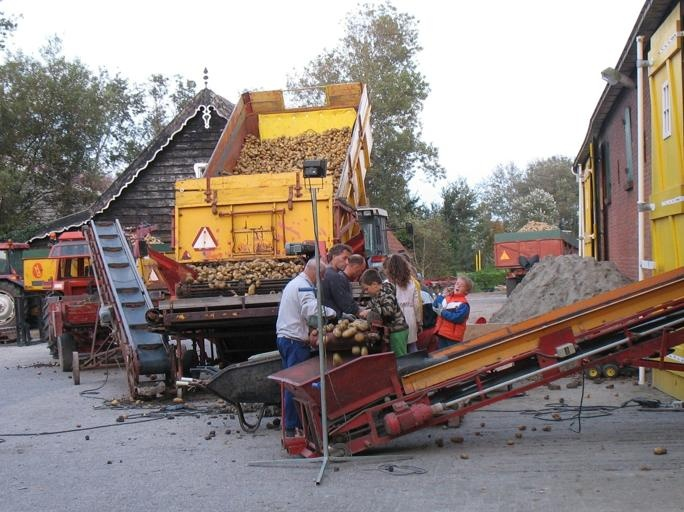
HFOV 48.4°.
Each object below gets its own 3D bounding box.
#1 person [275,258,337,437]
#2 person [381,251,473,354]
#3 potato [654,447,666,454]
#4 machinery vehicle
[{"bbox_3d":[-0.485,1.122,9.752,0.788,2.187,0.610,0,0,-31],"label":"person"},{"bbox_3d":[1.141,0.714,10.954,0.726,2.076,0.847,0,-2,-37],"label":"person"},{"bbox_3d":[3.598,2.196,8.605,0.071,0.038,0.098,0,-3,13],"label":"potato"},{"bbox_3d":[-4.448,1.118,14.629,2.662,4.149,2.853,-4,1,-5],"label":"machinery vehicle"}]
